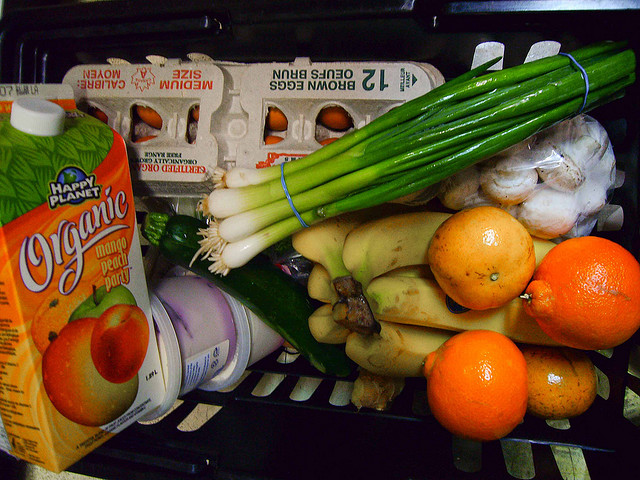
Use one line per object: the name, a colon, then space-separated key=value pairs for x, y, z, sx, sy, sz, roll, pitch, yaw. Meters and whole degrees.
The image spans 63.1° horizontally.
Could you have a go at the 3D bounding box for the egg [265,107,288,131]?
egg: x=-0.086 y=-0.231 z=1.005 sx=0.037 sy=0.046 sz=0.039 roll=-11 pitch=35 yaw=-5

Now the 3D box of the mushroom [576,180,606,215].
mushroom: x=0.421 y=-0.066 z=0.812 sx=0.044 sy=0.056 sz=0.031 roll=4 pitch=-1 yaw=-7

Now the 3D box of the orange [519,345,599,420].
orange: x=0.384 y=0.217 z=0.827 sx=0.093 sy=0.096 sz=0.097 roll=-2 pitch=8 yaw=-4

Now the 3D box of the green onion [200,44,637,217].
green onion: x=0.171 y=-0.168 z=0.840 sx=0.674 sy=0.067 sz=0.077 roll=-21 pitch=69 yaw=7

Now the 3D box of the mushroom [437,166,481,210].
mushroom: x=0.225 y=-0.074 z=0.867 sx=0.058 sy=0.080 sz=0.045 roll=-18 pitch=40 yaw=0

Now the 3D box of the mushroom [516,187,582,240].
mushroom: x=0.349 y=-0.040 z=0.801 sx=0.085 sy=0.068 sz=0.067 roll=-1 pitch=9 yaw=1

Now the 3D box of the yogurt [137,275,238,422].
yogurt: x=-0.247 y=0.187 z=0.945 sx=0.138 sy=0.265 sz=0.121 roll=18 pitch=29 yaw=32

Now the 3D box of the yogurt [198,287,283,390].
yogurt: x=-0.143 y=0.183 z=0.973 sx=0.117 sy=0.230 sz=0.099 roll=17 pitch=29 yaw=31

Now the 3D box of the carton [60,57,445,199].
carton: x=-0.109 y=-0.224 z=1.061 sx=0.576 sy=0.300 sz=0.383 roll=1 pitch=20 yaw=13

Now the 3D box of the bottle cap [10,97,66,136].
bottle cap: x=-0.402 y=-0.174 z=0.742 sx=0.066 sy=0.037 sz=0.068 roll=9 pitch=27 yaw=-23

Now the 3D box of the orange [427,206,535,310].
orange: x=0.242 y=0.020 z=0.796 sx=0.141 sy=0.146 sz=0.124 roll=2 pitch=18 yaw=10

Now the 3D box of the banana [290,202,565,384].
banana: x=0.145 y=0.086 z=0.889 sx=0.433 sy=0.244 sz=0.158 roll=6 pitch=9 yaw=11

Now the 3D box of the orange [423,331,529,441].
orange: x=0.224 y=0.207 z=0.813 sx=0.149 sy=0.151 sz=0.140 roll=10 pitch=-4 yaw=2

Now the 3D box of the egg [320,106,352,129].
egg: x=0.026 y=-0.220 z=0.942 sx=0.040 sy=0.026 sz=0.035 roll=2 pitch=10 yaw=-2

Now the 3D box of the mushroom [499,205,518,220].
mushroom: x=0.299 y=-0.043 z=0.831 sx=0.025 sy=0.014 sz=0.020 roll=12 pitch=7 yaw=11

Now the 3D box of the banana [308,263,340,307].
banana: x=0.004 y=0.073 z=0.896 sx=0.026 sy=0.070 sz=0.055 roll=-19 pitch=-7 yaw=-4

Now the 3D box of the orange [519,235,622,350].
orange: x=0.380 y=0.078 z=0.771 sx=0.144 sy=0.127 sz=0.122 roll=19 pitch=48 yaw=20

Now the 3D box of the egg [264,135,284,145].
egg: x=-0.090 y=-0.185 z=0.967 sx=0.029 sy=0.017 sz=0.018 roll=0 pitch=67 yaw=-5

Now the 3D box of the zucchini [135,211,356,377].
zucchini: x=-0.116 y=0.076 z=0.972 sx=0.298 sy=0.361 sz=0.272 roll=13 pitch=23 yaw=30
